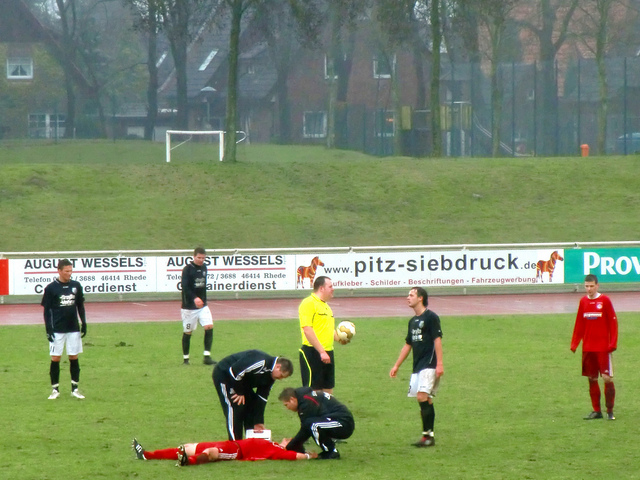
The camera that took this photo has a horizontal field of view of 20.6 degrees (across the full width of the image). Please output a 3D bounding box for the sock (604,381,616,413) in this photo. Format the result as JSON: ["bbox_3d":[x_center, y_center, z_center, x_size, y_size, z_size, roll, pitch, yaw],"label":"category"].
[{"bbox_3d":[14.429,7.729,87.310,0.465,1.567,0.348,-2,1,2],"label":"sock"}]

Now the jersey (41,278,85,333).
[{"bbox_3d":[-12.890,3.431,88.982,2.278,3.042,0.990,-1,-2,-14],"label":"jersey"}]

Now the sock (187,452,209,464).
[{"bbox_3d":[-5.883,10.561,85.411,0.659,0.330,0.562,-4,-15,-8],"label":"sock"}]

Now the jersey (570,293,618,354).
[{"bbox_3d":[13.722,4.120,87.360,2.102,2.890,0.412,-2,1,3],"label":"jersey"}]
